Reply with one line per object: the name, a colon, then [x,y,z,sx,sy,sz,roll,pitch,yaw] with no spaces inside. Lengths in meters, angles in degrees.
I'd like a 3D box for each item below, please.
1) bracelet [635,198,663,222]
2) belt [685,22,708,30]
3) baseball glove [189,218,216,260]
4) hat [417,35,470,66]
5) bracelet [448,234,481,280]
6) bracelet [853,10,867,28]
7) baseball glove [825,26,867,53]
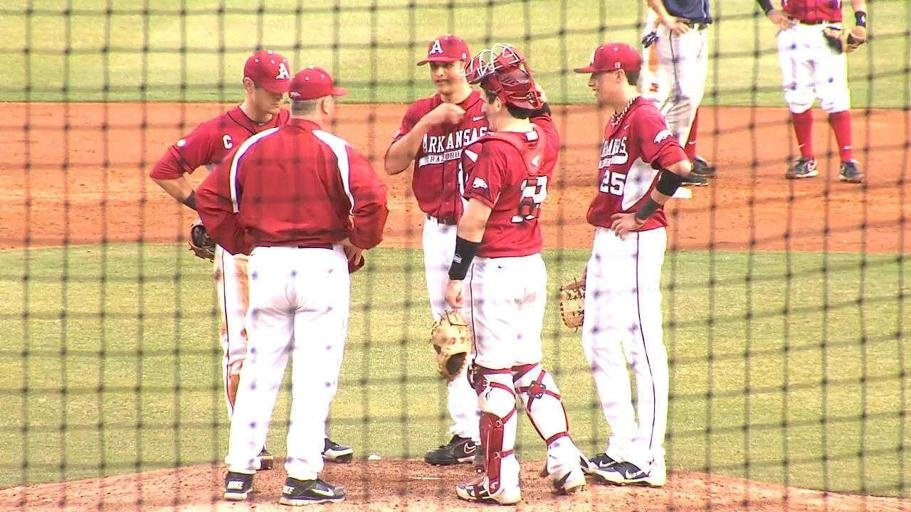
bracelet: [2.310,-0.583,17.126,0.230,0.322,0.193,27,25,-52]
belt: [3.635,-3.530,21.530,0.197,0.039,0.152,1,-26,1]
baseball glove: [-3.190,-0.233,17.844,0.504,0.457,0.264,-7,8,1]
hat: [-0.143,-2.579,17.503,0.621,0.211,0.334,1,5,2]
bracelet: [0.129,-0.006,17.012,0.373,0.463,0.355,21,-1,-42]
bracelet: [6.471,-3.847,22.832,0.135,0.255,0.193,-5,3,10]
baseball glove: [6.258,-3.529,22.892,0.607,0.395,0.408,-3,3,15]
